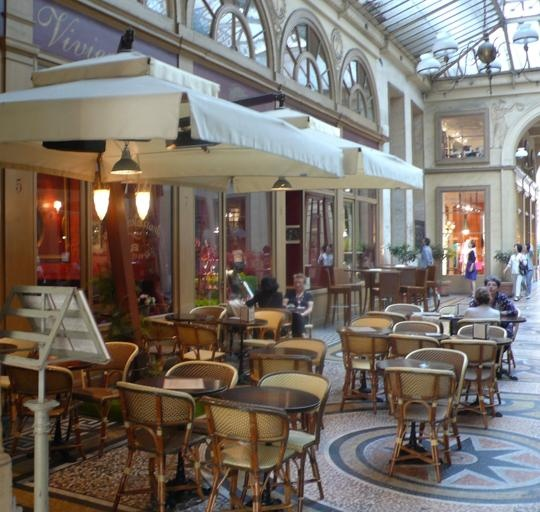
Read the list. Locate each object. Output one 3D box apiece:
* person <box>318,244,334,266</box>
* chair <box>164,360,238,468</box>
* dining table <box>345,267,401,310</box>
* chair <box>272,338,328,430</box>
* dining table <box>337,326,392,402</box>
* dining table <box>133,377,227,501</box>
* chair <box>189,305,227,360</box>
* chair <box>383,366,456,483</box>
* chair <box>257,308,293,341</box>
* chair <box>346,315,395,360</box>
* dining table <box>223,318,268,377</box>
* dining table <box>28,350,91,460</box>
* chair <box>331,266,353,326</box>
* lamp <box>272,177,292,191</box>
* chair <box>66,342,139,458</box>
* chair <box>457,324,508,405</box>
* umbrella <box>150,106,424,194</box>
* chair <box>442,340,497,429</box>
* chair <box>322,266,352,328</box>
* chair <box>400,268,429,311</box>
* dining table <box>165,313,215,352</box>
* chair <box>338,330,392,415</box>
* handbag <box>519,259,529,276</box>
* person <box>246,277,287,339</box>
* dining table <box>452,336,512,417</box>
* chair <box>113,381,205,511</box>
[{"bbox_3d":[1.312,-0.026,14.189,0.178,0.503,0.941,0,1,17],"label":"person"},{"bbox_3d":[-0.545,1.221,5.040,0.541,0.697,0.496,0,-6,23],"label":"chair"},{"bbox_3d":[2.695,0.730,14.898,1.318,1.487,1.081,0,-3,37],"label":"dining table"},{"bbox_3d":[0.312,1.122,6.098,0.489,0.676,0.468,6,-9,-6],"label":"chair"},{"bbox_3d":[1.072,1.294,7.007,0.611,0.885,0.574,2,1,25],"label":"dining table"},{"bbox_3d":[-0.637,1.328,4.747,0.775,0.972,0.789,2,-2,8],"label":"dining table"},{"bbox_3d":[-0.783,0.950,7.664,0.500,0.786,0.570,2,2,19],"label":"chair"},{"bbox_3d":[1.296,1.391,5.259,0.629,0.974,0.661,0,1,-19],"label":"chair"},{"bbox_3d":[0.066,0.920,8.651,0.444,0.642,0.444,0,-9,15],"label":"chair"},{"bbox_3d":[1.254,0.882,7.601,0.377,0.498,0.425,-4,-21,23],"label":"chair"},{"bbox_3d":[-0.434,1.210,8.204,0.658,0.904,0.729,1,0,5],"label":"dining table"},{"bbox_3d":[-1.854,1.326,5.233,0.402,0.846,0.524,-1,-2,4],"label":"dining table"},{"bbox_3d":[1.669,0.911,13.733,0.441,1.268,0.478,-4,6,-39],"label":"chair"},{"bbox_3d":[0.158,-0.934,7.820,0.213,0.137,0.232,0,-1,-5],"label":"lamp"},{"bbox_3d":[-1.537,1.267,5.653,0.544,0.880,0.602,1,0,37],"label":"chair"},{"bbox_3d":[2.559,1.499,7.535,0.596,0.870,0.598,0,-7,40],"label":"chair"},{"bbox_3d":[0.268,-1.291,7.568,2.802,1.402,2.885,1,5,16],"label":"umbrella"},{"bbox_3d":[2.177,1.359,6.693,0.617,0.924,0.603,-6,-3,-35],"label":"chair"},{"bbox_3d":[1.673,0.979,13.639,0.624,1.560,0.667,-4,5,-12],"label":"chair"},{"bbox_3d":[3.465,0.804,15.075,0.777,1.229,0.800,1,-1,40],"label":"chair"},{"bbox_3d":[-0.972,0.944,7.546,0.379,0.562,0.387,5,10,33],"label":"dining table"},{"bbox_3d":[1.094,1.298,7.000,0.597,0.887,0.585,0,-2,18],"label":"chair"},{"bbox_3d":[7.999,0.353,19.375,0.469,0.533,0.170,-3,7,-44],"label":"handbag"},{"bbox_3d":[-0.058,0.614,9.138,0.421,0.318,0.993,-2,19,1],"label":"person"},{"bbox_3d":[2.173,1.326,6.672,0.595,0.935,0.633,0,-1,4],"label":"dining table"},{"bbox_3d":[-0.796,1.342,4.423,0.629,0.939,0.706,0,1,-12],"label":"chair"}]
